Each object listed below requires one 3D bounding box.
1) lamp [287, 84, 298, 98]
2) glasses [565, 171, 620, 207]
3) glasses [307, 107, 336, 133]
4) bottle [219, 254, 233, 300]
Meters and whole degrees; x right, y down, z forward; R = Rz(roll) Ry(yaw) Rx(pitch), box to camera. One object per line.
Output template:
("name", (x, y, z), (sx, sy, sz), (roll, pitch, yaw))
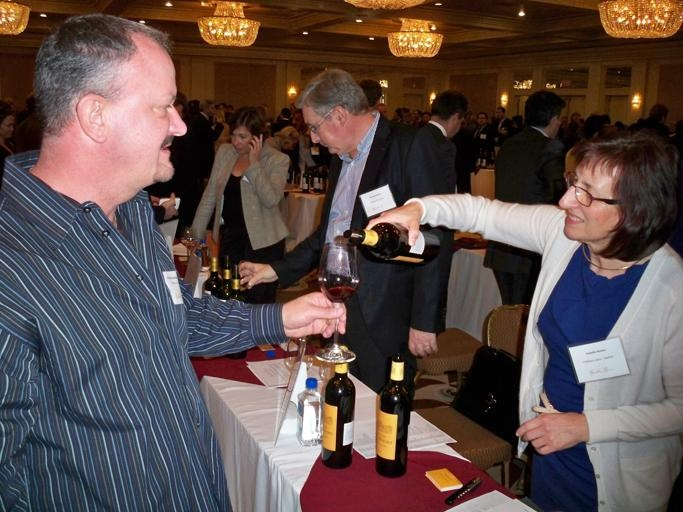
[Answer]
("lamp", (-1.641, -5.515, 18.136), (0.296, 0.326, 0.580), (1, -33, -5))
("glasses", (0.804, -0.215, 1.754), (0.116, 0.037, 0.119), (1, 35, -18))
("glasses", (-0.095, -0.663, 2.624), (0.029, 0.101, 0.094), (27, -5, -13))
("bottle", (-0.562, 0.107, 2.626), (0.062, 0.260, 0.067), (5, 37, -4))
